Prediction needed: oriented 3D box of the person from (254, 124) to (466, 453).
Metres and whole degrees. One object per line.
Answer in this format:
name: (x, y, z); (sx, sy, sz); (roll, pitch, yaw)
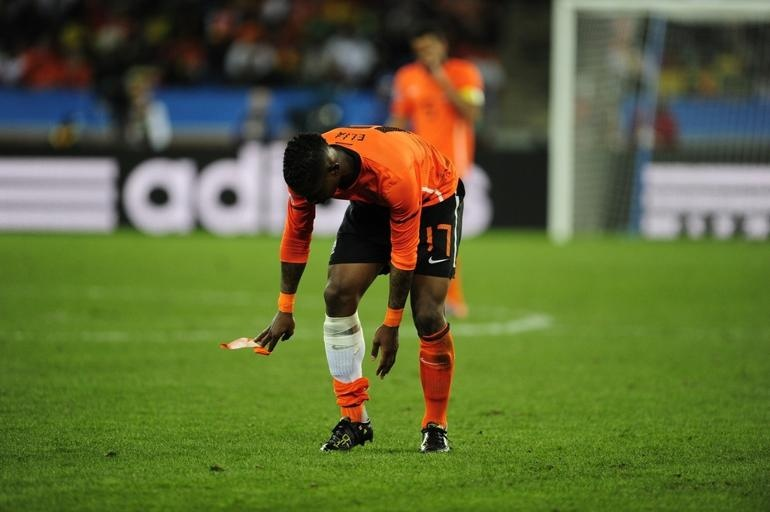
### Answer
person: (-0.129, 0.240, 8.658); (1.445, 2.500, 0.805); (1, 13, 3)
